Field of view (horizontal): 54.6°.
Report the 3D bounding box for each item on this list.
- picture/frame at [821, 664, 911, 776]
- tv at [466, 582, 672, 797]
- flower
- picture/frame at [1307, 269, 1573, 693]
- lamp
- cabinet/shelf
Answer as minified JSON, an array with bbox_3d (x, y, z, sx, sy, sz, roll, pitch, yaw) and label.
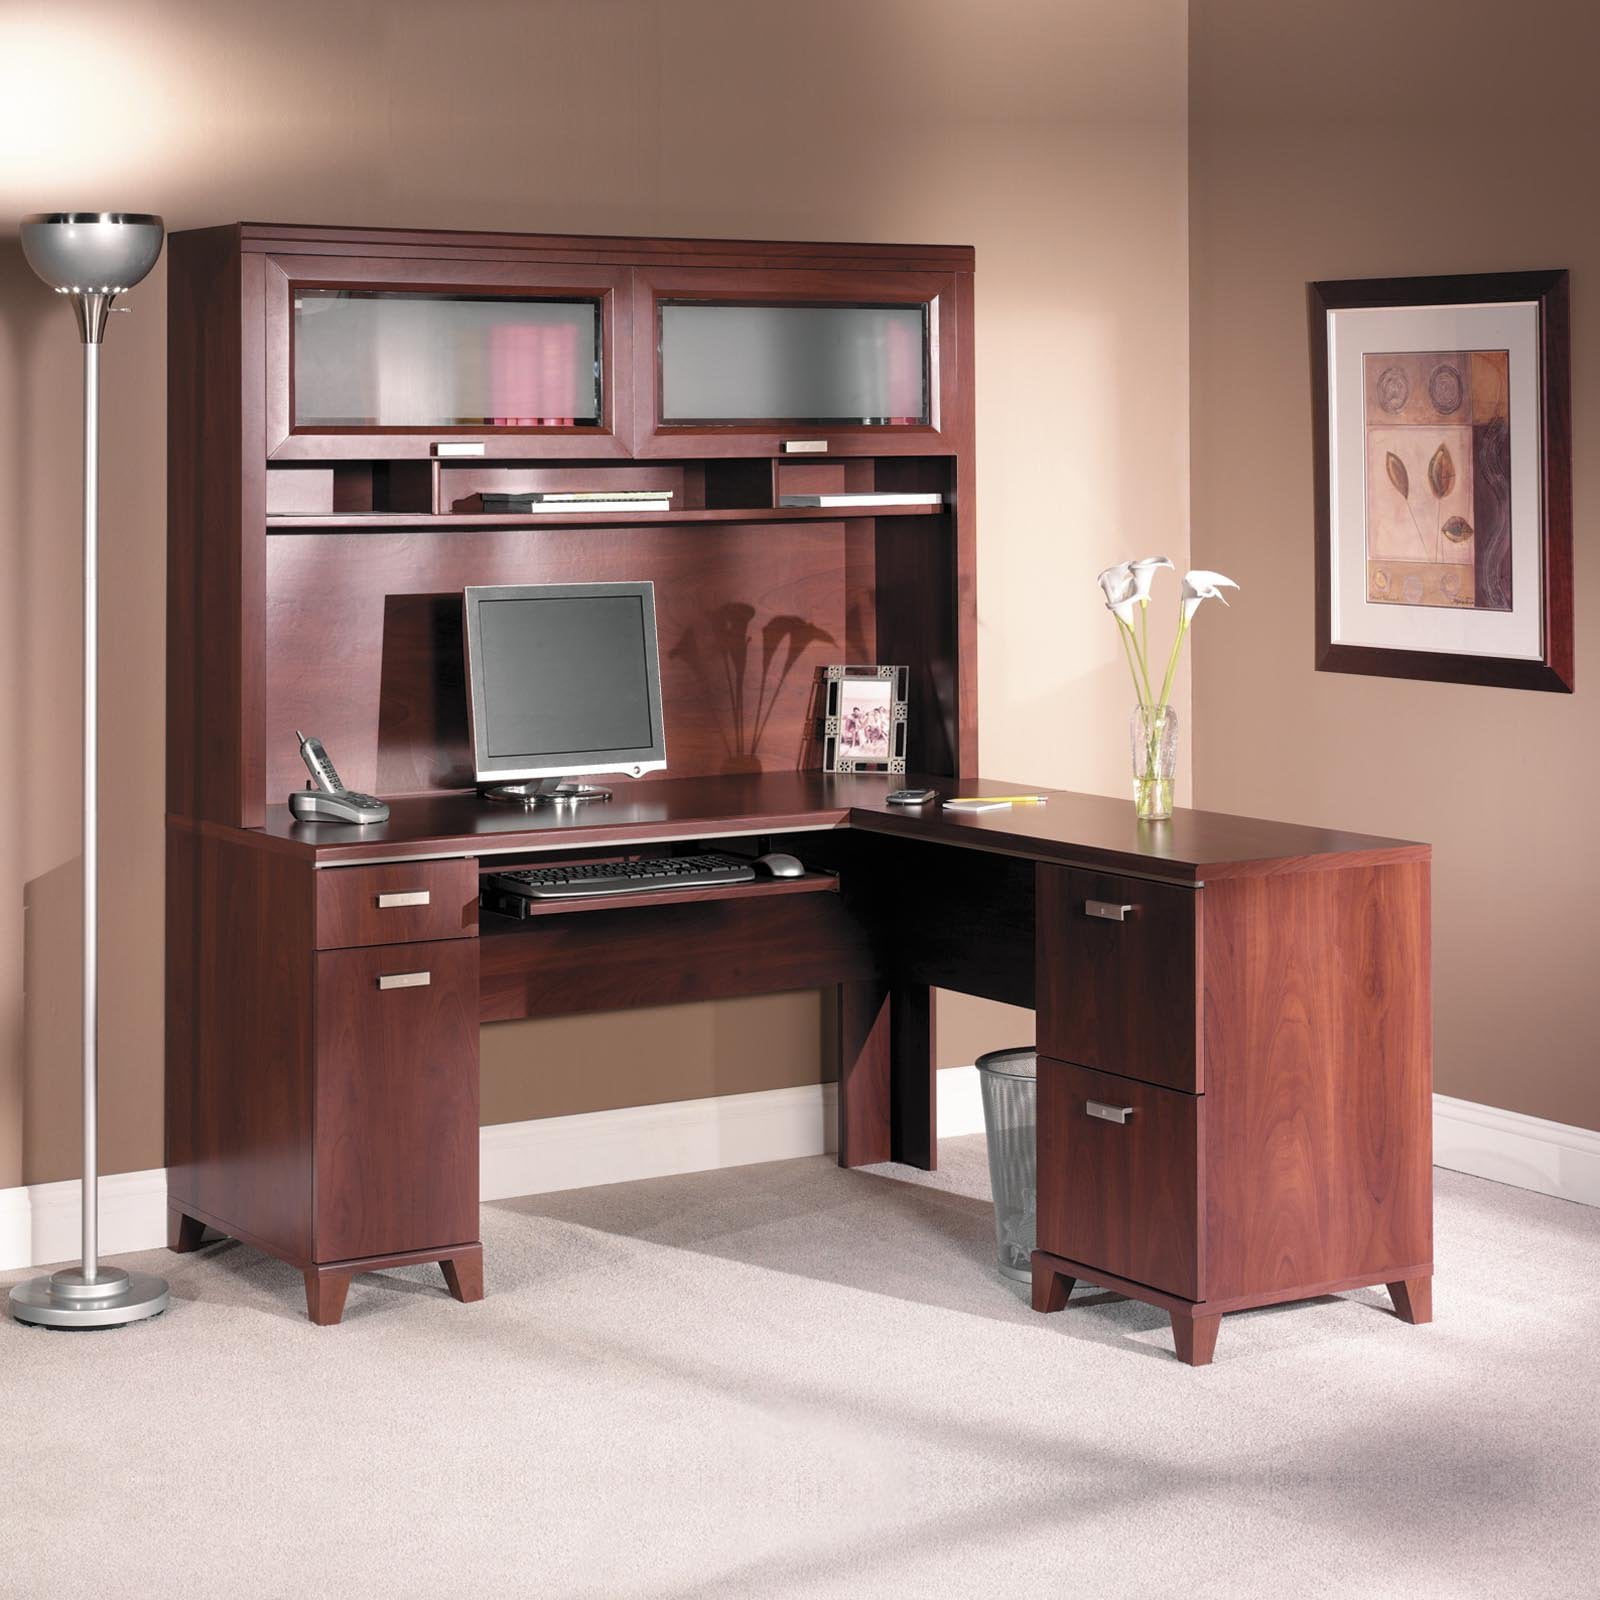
[{"bbox_3d":[0.153,-0.183,3.575,0.256,0.311,0.031,0,-4,21],"label":"picture/frame"},{"bbox_3d":[-0.506,-0.234,3.245,0.439,0.431,0.048,-3,-2,-29],"label":"tv"},{"bbox_3d":[0.678,-0.204,2.958,0.276,0.478,0.308,3,-2,-33],"label":"flower"},{"bbox_3d":[1.488,-0.756,3.593,0.105,1.058,0.739,1,-3,-28],"label":"picture/frame"},{"bbox_3d":[-1.255,-0.068,2.741,0.259,1.932,0.677,1,-3,-23],"label":"lamp"},{"bbox_3d":[-0.433,-0.483,3.396,1.550,1.445,0.436,-5,26,-20],"label":"cabinet/shelf"}]
